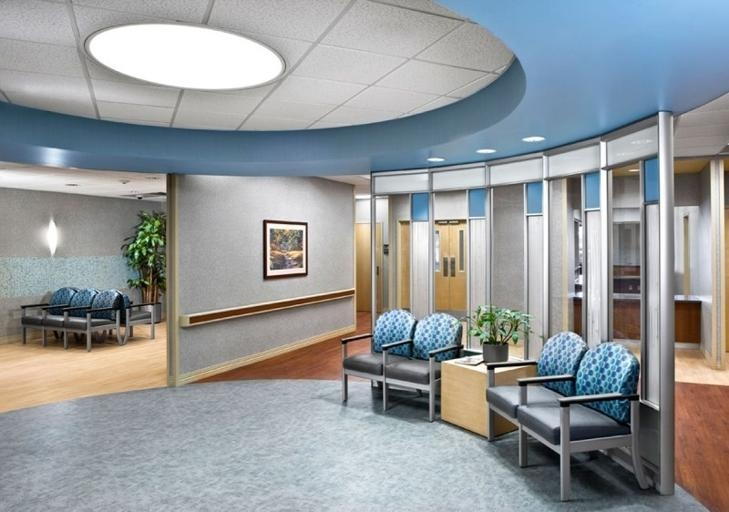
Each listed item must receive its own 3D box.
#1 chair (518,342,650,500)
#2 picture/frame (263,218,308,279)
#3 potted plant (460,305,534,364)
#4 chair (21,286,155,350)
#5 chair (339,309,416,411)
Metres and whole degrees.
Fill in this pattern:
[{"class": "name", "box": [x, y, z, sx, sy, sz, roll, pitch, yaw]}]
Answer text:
[{"class": "chair", "box": [2.124, 1.517, 4.454, 1.085, 1.291, 0.675, -1, 3, -13]}, {"class": "picture/frame", "box": [-1.617, -0.140, 9.398, 1.302, 1.130, 0.113, 2, 2, 37]}, {"class": "potted plant", "box": [1.654, 0.914, 5.788, 0.752, 0.495, 0.765, 1, 1, 43]}, {"class": "chair", "box": [-6.407, 1.370, 10.513, 2.506, 1.214, 1.624, 1, 4, 25]}, {"class": "chair", "box": [0.051, 1.368, 6.800, 1.154, 1.605, 1.302, -2, -5, 38]}]
